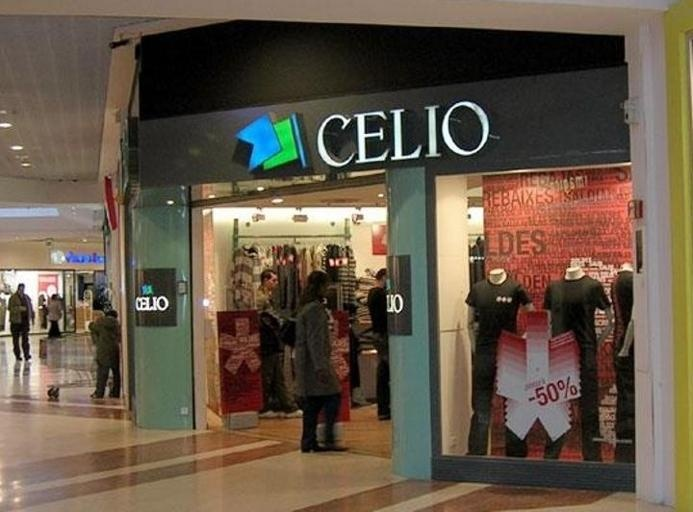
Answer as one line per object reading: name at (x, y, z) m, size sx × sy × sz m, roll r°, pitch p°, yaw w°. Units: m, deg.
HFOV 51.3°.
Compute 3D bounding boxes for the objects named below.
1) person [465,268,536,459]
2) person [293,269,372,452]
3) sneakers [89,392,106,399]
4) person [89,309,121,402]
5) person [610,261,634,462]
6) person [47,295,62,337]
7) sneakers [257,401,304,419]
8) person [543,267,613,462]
person at (1.373, 0.940, 6.555) m, size 0.547 × 1.650 × 0.160 m, roll -2°, pitch -3°, yaw 16°
person at (-0.287, 1.079, 7.462) m, size 0.499 × 1.853 × 0.423 m, roll -1°, pitch -3°, yaw 0°
sneakers at (-3.991, 2.195, 11.436) m, size 0.302 × 0.142 × 0.110 m, roll -3°, pitch -4°, yaw 19°
person at (-3.916, 1.560, 11.704) m, size 0.487 × 1.399 × 0.757 m, roll 0°, pitch -3°, yaw -20°
person at (2.432, 0.966, 6.310) m, size 0.174 × 1.588 × 0.143 m, roll -3°, pitch -4°, yaw 26°
person at (-10.297, 2.089, 25.414) m, size 0.377 × 1.518 × 1.287 m, roll 0°, pitch -3°, yaw -21°
sneakers at (-0.799, 1.886, 8.783) m, size 0.552 × 0.246 × 0.186 m, roll 4°, pitch -21°, yaw -10°
person at (2.083, 0.924, 6.418) m, size 0.565 × 1.697 × 0.135 m, roll -3°, pitch -3°, yaw 20°
